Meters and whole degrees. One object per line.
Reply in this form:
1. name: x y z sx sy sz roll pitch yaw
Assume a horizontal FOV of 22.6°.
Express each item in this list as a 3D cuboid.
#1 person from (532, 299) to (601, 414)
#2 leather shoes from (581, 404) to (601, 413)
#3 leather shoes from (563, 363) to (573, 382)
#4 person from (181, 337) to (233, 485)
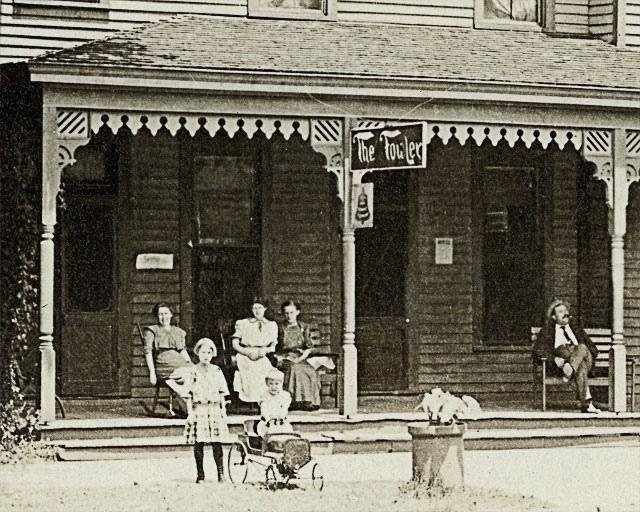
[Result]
1. person: 3.747 1.530 24.415 1.023 1.718 0.821 -2 -6 14
2. leather shoes: 4.057 2.290 23.966 0.109 0.133 0.320 7 -18 -34
3. leather shoes: 3.766 1.742 24.199 0.158 0.263 0.217 -1 -6 7
4. person: -1.499 2.024 20.995 0.549 1.865 0.502 0 -6 -6
